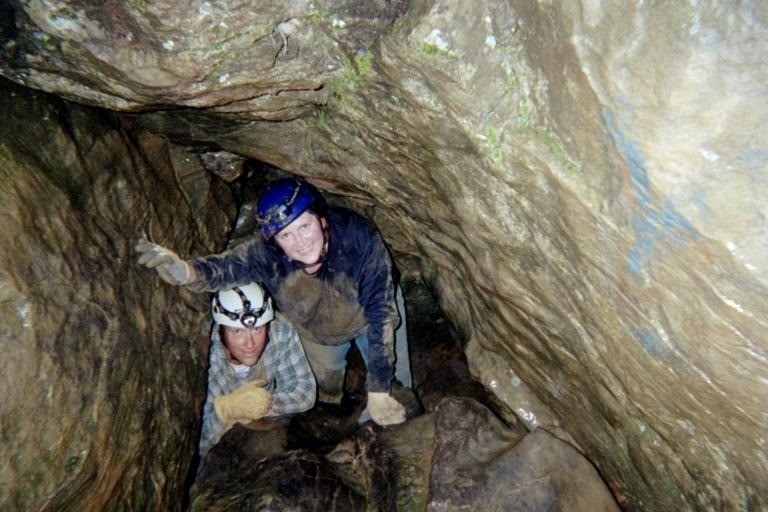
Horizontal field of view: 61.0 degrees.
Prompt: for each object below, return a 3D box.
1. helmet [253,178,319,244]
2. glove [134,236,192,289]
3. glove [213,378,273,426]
[{"bbox_3d":[-0.834,-0.408,5.611,0.404,0.530,0.408,42,-27,-14],"label":"helmet"},{"bbox_3d":[-1.769,0.051,5.285,0.511,0.281,0.158,49,-8,-39],"label":"glove"},{"bbox_3d":[-1.282,1.356,6.063,0.458,0.367,0.202,-7,19,17],"label":"glove"}]
